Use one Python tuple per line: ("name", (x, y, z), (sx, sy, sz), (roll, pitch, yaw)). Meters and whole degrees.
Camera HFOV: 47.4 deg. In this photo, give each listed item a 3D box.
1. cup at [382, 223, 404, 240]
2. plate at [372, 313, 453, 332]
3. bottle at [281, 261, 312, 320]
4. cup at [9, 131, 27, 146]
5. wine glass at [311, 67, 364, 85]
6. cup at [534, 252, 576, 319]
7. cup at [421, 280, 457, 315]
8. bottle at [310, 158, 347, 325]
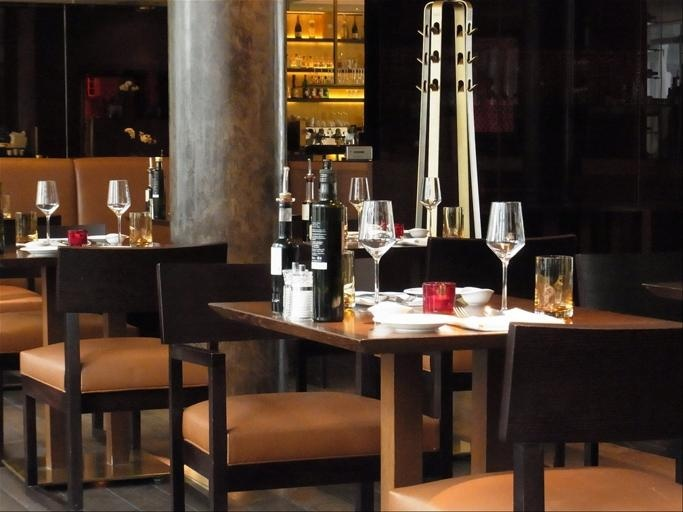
("cup", (0.186, -0.085, 2.773), (0.102, 0.081, 0.105), (-1, 5, 0))
("plate", (0.180, 0.163, 1.953), (0.170, 0.036, 0.174), (-2, 5, -17))
("bottle", (-0.114, 0.102, 2.089), (0.112, 0.173, 0.115), (0, 2, 0))
("cup", (-3.903, -1.407, 9.348), (0.209, 0.208, 0.113), (-2, 5, -32))
("wine glass", (-0.048, -1.982, 8.592), (0.566, 0.207, 0.097), (-1, 5, -6))
("cup", (0.587, 0.086, 2.148), (0.147, 0.245, 0.145), (1, -4, 0))
("cup", (0.280, 0.118, 2.217), (0.083, 0.087, 0.085), (0, 8, 0))
("bottle", (-0.036, -0.029, 2.055), (0.086, 0.398, 0.110), (-1, 5, -1))
